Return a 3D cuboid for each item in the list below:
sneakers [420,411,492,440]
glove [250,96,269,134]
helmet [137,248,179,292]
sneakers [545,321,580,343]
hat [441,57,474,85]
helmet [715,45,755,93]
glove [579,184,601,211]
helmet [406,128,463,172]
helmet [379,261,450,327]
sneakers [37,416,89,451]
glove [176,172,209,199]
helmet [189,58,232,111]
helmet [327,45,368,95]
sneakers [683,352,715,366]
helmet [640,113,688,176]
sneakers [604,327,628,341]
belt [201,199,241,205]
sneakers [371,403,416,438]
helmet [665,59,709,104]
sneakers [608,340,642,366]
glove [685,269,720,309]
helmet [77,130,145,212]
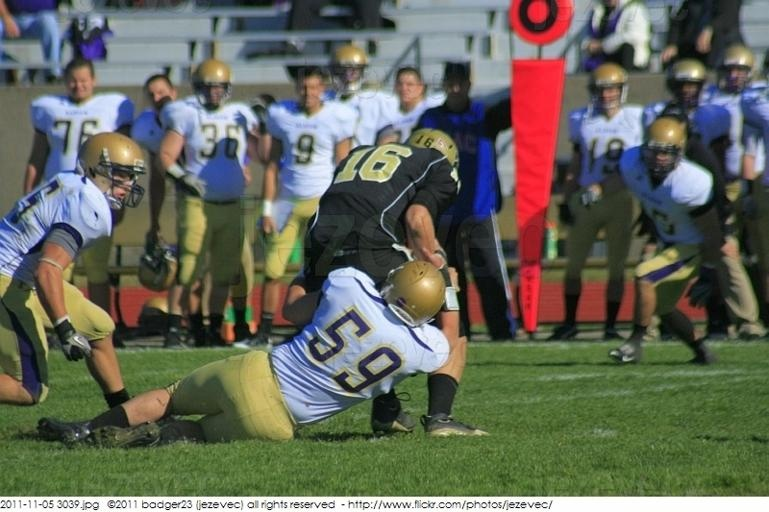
[{"bbox_3d":[0.462,1.114,9.124,0.469,0.171,0.157,0,-5,-2],"label":"sneakers"},{"bbox_3d":[-0.975,-1.096,11.021,0.096,0.227,0.215,0,2,-40],"label":"glove"},{"bbox_3d":[-1.758,0.108,10.892,0.299,0.343,0.190,0,2,-8],"label":"helmet"},{"bbox_3d":[1.391,0.589,10.984,0.234,0.137,0.218,0,2,6],"label":"sneakers"},{"bbox_3d":[0.543,-1.409,10.826,0.212,0.165,0.168,8,9,42],"label":"hat"},{"bbox_3d":[2.732,-1.467,11.040,0.274,0.379,0.358,-2,16,-6],"label":"helmet"},{"bbox_3d":[1.583,-0.449,10.814,0.077,0.129,0.172,-2,-20,-29],"label":"glove"},{"bbox_3d":[0.308,-0.706,9.533,0.341,0.300,0.265,10,-1,-2],"label":"helmet"},{"bbox_3d":[0.222,0.208,8.851,0.354,0.319,0.432,-34,0,28],"label":"helmet"},{"bbox_3d":[-2.038,1.128,8.982,0.430,0.157,0.192,8,-14,13],"label":"sneakers"},{"bbox_3d":[-1.457,-0.524,10.678,0.200,0.095,0.145,40,7,-20],"label":"glove"},{"bbox_3d":[-1.336,-1.308,10.900,0.300,0.360,0.382,1,6,-5],"label":"helmet"},{"bbox_3d":[-0.287,-1.428,10.919,0.321,0.421,0.361,0,-2,-5],"label":"helmet"},{"bbox_3d":[2.297,0.749,10.193,0.191,0.079,0.103,0,2,10],"label":"sneakers"},{"bbox_3d":[2.071,-0.807,10.366,0.310,0.409,0.440,11,27,28],"label":"helmet"},{"bbox_3d":[1.775,0.625,10.906,0.114,0.078,0.106,8,-7,-7],"label":"sneakers"},{"bbox_3d":[-1.247,-0.409,10.847,0.284,0.047,0.067,-1,2,-36],"label":"belt"},{"bbox_3d":[0.063,1.074,9.192,0.287,0.183,0.144,-7,19,-10],"label":"sneakers"},{"bbox_3d":[2.387,-1.349,11.037,0.265,0.353,0.353,3,11,10],"label":"helmet"},{"bbox_3d":[1.763,0.711,10.299,0.235,0.163,0.157,0,2,8],"label":"sneakers"},{"bbox_3d":[2.489,0.250,11.002,0.082,0.299,0.263,-1,2,-35],"label":"glove"},{"bbox_3d":[-1.854,-0.570,9.286,0.496,0.504,0.410,6,6,-24],"label":"helmet"}]
